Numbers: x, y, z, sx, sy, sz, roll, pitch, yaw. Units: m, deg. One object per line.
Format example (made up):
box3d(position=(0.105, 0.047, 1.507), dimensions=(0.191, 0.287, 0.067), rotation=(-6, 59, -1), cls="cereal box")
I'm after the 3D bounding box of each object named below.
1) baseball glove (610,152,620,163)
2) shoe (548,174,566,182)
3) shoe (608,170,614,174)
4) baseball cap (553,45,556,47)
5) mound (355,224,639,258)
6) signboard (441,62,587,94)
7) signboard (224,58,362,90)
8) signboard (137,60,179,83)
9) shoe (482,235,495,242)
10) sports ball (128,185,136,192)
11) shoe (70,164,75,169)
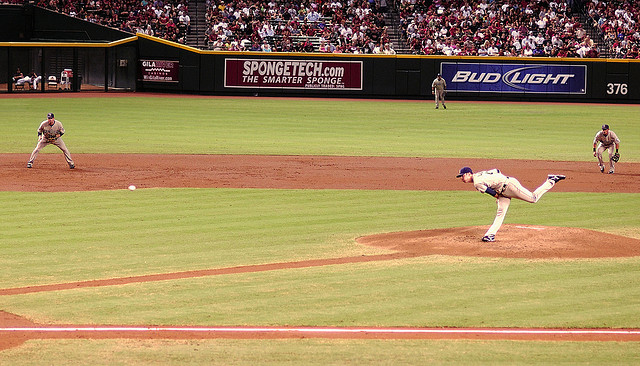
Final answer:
box3d(position=(12.471, -1.102, 46.238), dimensions=(0.346, 0.349, 0.171), rotation=(16, -34, 2), cls="baseball glove")
box3d(position=(8.317, -0.173, 38.640), dimensions=(0.546, 0.263, 1.053), rotation=(4, 8, 9), cls="shoe")
box3d(position=(12.501, -0.481, 47.047), dimensions=(0.178, 0.160, 0.314), rotation=(6, 10, 19), cls="shoe")
box3d(position=(15.041, -8.838, 70.215), dimensions=(0.081, 0.120, 0.177), rotation=(5, 10, 7), cls="baseball cap")
box3d(position=(6.572, 2.054, 38.137), dimensions=(8.989, 0.782, 2.066), rotation=(2, 9, 3), cls="mound")
box3d(position=(12.330, -6.613, 68.636), dimensions=(0.430, 2.215, 11.743), rotation=(-9, 11, -44), cls="signboard")
box3d(position=(-1.493, -6.845, 68.860), dimensions=(13.832, 2.329, 0.280), rotation=(7, 13, 40), cls="signboard")
box3d(position=(-10.451, -7.266, 70.561), dimensions=(3.323, 1.394, 0.387), rotation=(8, 12, 37), cls="signboard")
box3d(position=(5.826, 1.936, 37.998), dimensions=(0.385, 0.279, 0.243), rotation=(3, 10, 1), cls="shoe")
box3d(position=(-7.411, 0.223, 43.436), dimensions=(0.290, 0.122, 0.279), rotation=(2, 9, 0), cls="sports ball")
box3d(position=(-10.465, -0.697, 46.337), dimensions=(0.190, 0.187, 0.232), rotation=(0, 10, -16), cls="shoe")
